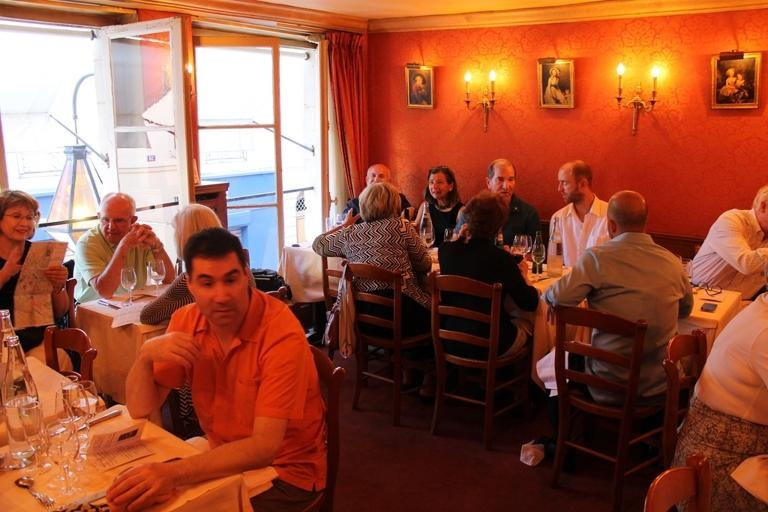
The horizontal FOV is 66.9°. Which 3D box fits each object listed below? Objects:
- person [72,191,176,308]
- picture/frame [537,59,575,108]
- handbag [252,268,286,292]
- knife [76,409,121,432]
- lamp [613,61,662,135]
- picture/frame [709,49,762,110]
[{"bbox_3d":[-1.996,0.062,4.409,0.678,0.985,0.659,1,11,34],"label":"person"},{"bbox_3d":[1.805,-1.801,6.019,0.499,0.626,0.065,5,15,31],"label":"picture/frame"},{"bbox_3d":[-1.062,0.218,5.354,0.206,0.098,0.278,3,5,15],"label":"handbag"},{"bbox_3d":[-1.284,0.721,2.615,0.041,0.017,0.216,19,20,29],"label":"knife"},{"bbox_3d":[2.473,-1.533,5.656,0.409,0.712,0.260,2,14,20],"label":"lamp"},{"bbox_3d":[3.219,-1.611,5.284,0.554,0.660,0.070,5,12,36],"label":"picture/frame"}]
